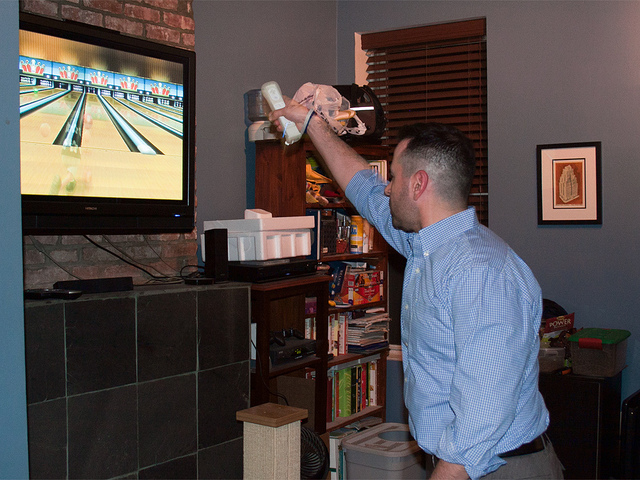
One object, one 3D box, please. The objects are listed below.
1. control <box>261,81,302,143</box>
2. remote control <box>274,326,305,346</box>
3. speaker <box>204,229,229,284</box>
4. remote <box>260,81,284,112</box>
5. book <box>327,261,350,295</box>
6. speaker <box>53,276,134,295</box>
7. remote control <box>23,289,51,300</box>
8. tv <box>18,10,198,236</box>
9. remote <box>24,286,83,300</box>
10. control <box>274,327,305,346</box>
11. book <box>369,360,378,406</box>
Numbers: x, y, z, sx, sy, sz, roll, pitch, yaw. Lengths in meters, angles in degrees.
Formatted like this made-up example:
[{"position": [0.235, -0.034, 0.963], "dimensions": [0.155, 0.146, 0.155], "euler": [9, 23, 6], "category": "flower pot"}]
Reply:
[{"position": [-0.133, -0.481, 2.295], "dimensions": [0.107, 0.310, 0.079], "euler": [-27, 18, -10], "category": "control"}, {"position": [-0.184, 0.545, 3.204], "dimensions": [0.120, 0.049, 0.078], "euler": [-8, 9, -35], "category": "remote control"}, {"position": [-0.508, 0.081, 2.811], "dimensions": [0.144, 0.265, 0.141], "euler": [-2, 3, -30], "category": "speaker"}, {"position": [-0.178, -0.574, 2.246], "dimensions": [0.082, 0.133, 0.040], "euler": [-14, 46, 3], "category": "remote"}, {"position": [0.140, 0.234, 3.731], "dimensions": [0.101, 0.283, 0.165], "euler": [13, 7, 14], "category": "book"}, {"position": [-0.960, 0.196, 2.385], "dimensions": [0.309, 0.058, 0.105], "euler": [-2, 2, -29], "category": "speaker"}, {"position": [-1.096, 0.214, 2.173], "dimensions": [0.092, 0.034, 0.047], "euler": [-1, 2, -18], "category": "remote control"}, {"position": [-1.021, -0.516, 2.626], "dimensions": [1.098, 0.899, 0.120], "euler": [8, 5, 15], "category": "tv"}, {"position": [-1.043, 0.218, 2.187], "dimensions": [0.199, 0.043, 0.041], "euler": [-1, 2, -17], "category": "remote"}, {"position": [-0.177, 0.545, 3.210], "dimensions": [0.124, 0.048, 0.078], "euler": [-3, 4, -36], "category": "control"}, {"position": [0.373, 1.011, 3.948], "dimensions": [0.068, 0.241, 0.181], "euler": [0, -2, 10], "category": "book"}]
